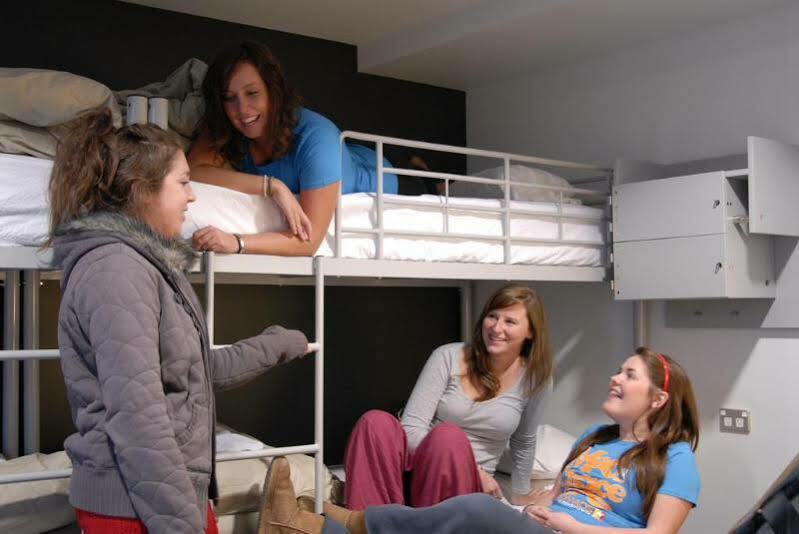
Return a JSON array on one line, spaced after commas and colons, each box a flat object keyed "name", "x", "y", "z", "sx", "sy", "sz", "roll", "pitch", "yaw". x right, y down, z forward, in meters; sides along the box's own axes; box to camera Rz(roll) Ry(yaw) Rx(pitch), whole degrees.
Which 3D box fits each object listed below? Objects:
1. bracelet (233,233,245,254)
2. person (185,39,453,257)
[{"name": "bracelet", "x": -0.675, "y": -0.104, "z": 2.859, "sx": 0.047, "sy": 0.073, "sz": 0.073, "roll": 6, "pitch": -3, "yaw": -22}, {"name": "person", "x": -0.424, "y": -0.549, "z": 3.276, "sx": 1.328, "sy": 0.627, "sz": 0.590, "roll": -8, "pitch": 22, "yaw": -44}]
